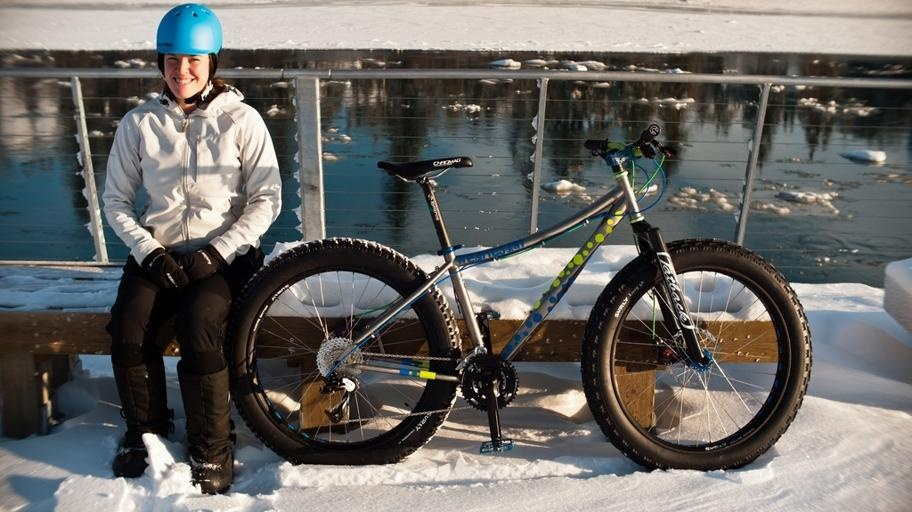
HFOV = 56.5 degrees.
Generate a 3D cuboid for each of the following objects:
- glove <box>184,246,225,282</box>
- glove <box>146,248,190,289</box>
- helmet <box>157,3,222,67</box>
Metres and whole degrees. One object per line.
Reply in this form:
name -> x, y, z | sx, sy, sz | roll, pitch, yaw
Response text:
glove -> -2.315, 0.070, 7.780 | 0.392, 0.313, 0.086 | -3, 15, -15
glove -> -2.602, 0.127, 7.844 | 0.416, 0.294, 0.173 | 40, 17, -9
helmet -> -2.445, -2.060, 7.826 | 0.500, 0.577, 0.436 | 5, 39, -3
